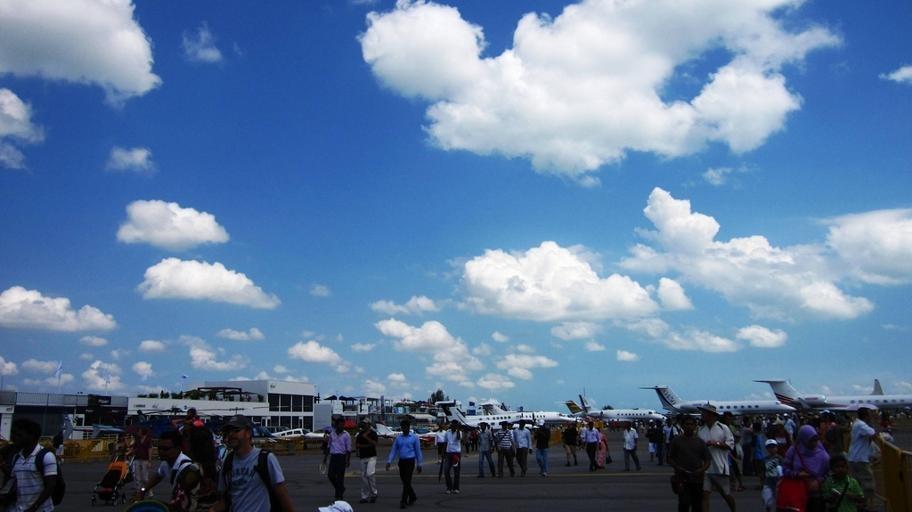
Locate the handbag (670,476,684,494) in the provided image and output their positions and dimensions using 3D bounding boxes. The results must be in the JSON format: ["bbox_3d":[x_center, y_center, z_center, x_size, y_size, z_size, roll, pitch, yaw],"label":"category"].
[{"bbox_3d":[6.151,6.403,18.899,0.240,0.480,0.320,1,-18,-18],"label":"handbag"}]
